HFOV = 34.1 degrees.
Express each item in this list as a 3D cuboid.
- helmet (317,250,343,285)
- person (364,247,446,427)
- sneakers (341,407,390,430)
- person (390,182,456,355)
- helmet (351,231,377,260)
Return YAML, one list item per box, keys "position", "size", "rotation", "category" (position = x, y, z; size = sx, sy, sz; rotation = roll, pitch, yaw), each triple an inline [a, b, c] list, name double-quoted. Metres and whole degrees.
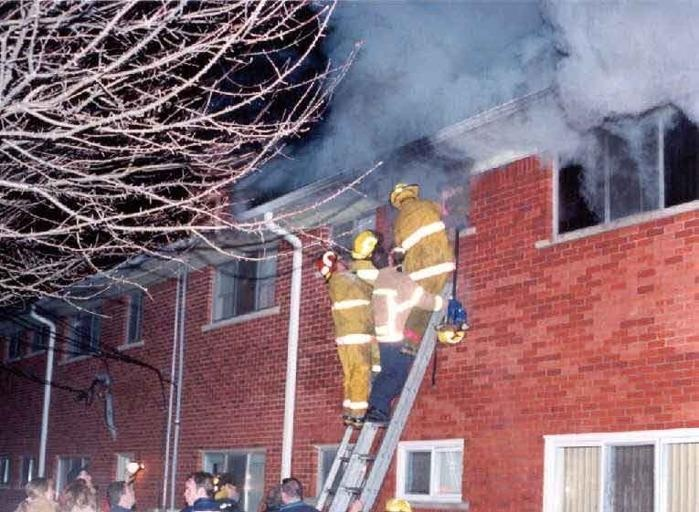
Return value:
- position: [-0.261, 0.143, 14.215]
  size: [0.314, 0.386, 0.262]
  rotation: [29, -8, -23]
  category: "helmet"
- position: [0.550, 1.052, 13.846]
  size: [0.469, 1.802, 1.124]
  rotation: [1, 7, -29]
  category: "person"
- position: [0.225, 1.971, 13.793]
  size: [0.622, 0.314, 0.229]
  rotation: [0, -6, -16]
  category: "sneakers"
- position: [0.955, 0.036, 14.102]
  size: [0.498, 2.055, 0.681]
  rotation: [-6, -7, -36]
  category: "person"
- position: [0.175, -0.138, 13.996]
  size: [0.272, 0.368, 0.140]
  rotation: [23, 2, -26]
  category: "helmet"
